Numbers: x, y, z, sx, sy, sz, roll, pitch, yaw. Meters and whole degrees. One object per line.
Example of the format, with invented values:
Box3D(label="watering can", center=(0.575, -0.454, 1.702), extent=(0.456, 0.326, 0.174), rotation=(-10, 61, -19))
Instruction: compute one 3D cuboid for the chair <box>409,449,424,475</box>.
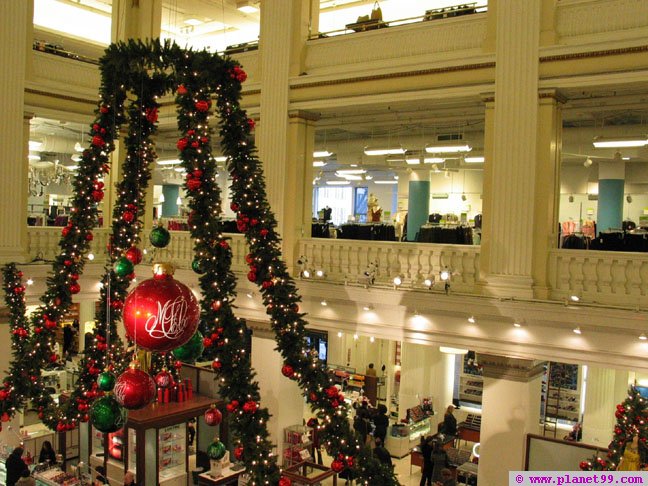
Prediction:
Box3D(label="chair", center=(2.058, 4.841, 12.006), extent=(0.338, 0.544, 0.342), rotation=(-3, -6, 42))
